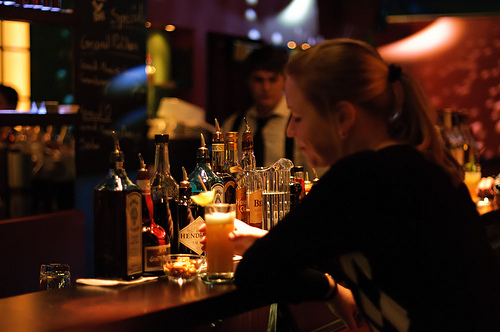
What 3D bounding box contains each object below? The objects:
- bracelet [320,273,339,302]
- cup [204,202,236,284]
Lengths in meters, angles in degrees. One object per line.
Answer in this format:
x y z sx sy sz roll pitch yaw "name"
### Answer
0.331 0.508 2.084 0.082 0.095 0.090 20 -7 -34 "bracelet"
-0.119 0.305 1.985 0.120 0.306 0.083 -2 11 -5 "cup"
